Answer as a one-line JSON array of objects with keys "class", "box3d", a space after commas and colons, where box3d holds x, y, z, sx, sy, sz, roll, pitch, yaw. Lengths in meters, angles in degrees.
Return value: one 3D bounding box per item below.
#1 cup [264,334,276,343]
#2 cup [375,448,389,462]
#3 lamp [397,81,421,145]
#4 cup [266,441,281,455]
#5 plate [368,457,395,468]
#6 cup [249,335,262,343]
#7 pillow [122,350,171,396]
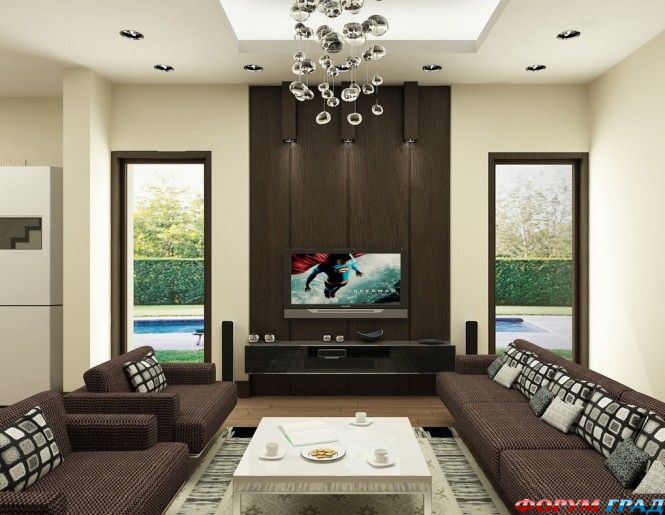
[{"class": "cup", "box3d": [-0.730, 0.940, 5.765, 0.106, 0.058, 0.096, 0, 0, -8]}, {"class": "cup", "box3d": [0.330, 1.263, 3.184, 0.090, 0.056, 0.077, 0, 1, -44]}, {"class": "lamp", "box3d": [0.915, -1.682, 5.776, 0.184, 0.717, 0.069, -1, 6, 3]}, {"class": "cup", "box3d": [-0.395, 1.244, 3.239, 0.074, 0.043, 0.072, 0, 3, 0]}, {"class": "plate", "box3d": [0.312, 1.314, 3.159, 0.175, 0.029, 0.080, 0, 6, 5]}, {"class": "cup", "box3d": [-0.908, 0.942, 5.736, 0.102, 0.055, 0.096, 0, 2, 0]}, {"class": "pillow", "box3d": [-1.622, 1.007, 4.284, 0.141, 0.240, 0.377, -16, -2, 13]}]
